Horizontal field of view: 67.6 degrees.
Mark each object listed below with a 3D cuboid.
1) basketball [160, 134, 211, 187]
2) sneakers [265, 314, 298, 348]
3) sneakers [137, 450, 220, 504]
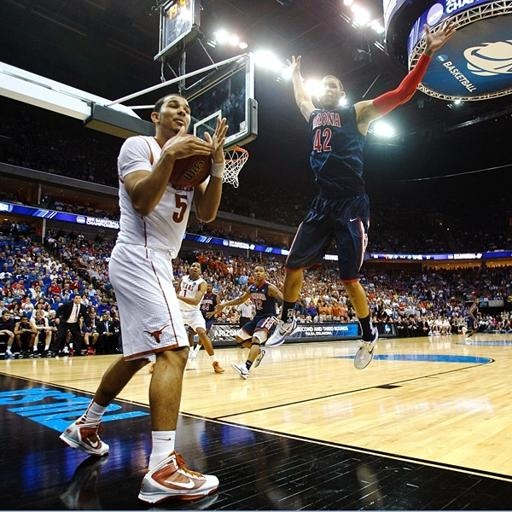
[{"bbox_3d":[-0.302,-0.369,1.730,0.178,0.118,0.259,1,-6,-11],"label":"basketball"},{"bbox_3d":[0.273,0.813,4.138,0.241,0.172,0.512,28,-56,-15],"label":"sneakers"},{"bbox_3d":[-0.305,0.877,1.539,0.364,0.165,0.131,4,-13,-15],"label":"sneakers"}]
